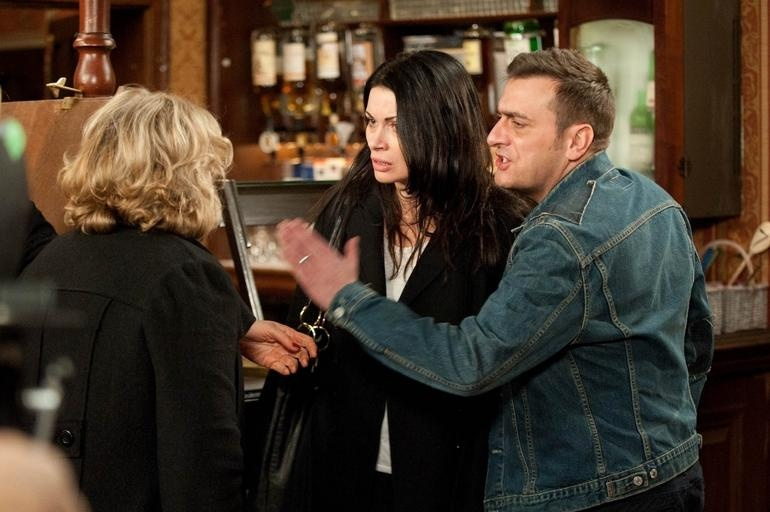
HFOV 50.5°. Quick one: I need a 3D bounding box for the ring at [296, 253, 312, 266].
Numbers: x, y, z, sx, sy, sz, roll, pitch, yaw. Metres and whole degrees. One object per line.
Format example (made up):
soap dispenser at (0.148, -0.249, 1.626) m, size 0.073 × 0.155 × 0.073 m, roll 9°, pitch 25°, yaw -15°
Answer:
ring at (-0.203, 0.008, 2.059) m, size 0.039 × 0.004 × 0.004 m, roll -42°, pitch 4°, yaw 5°
